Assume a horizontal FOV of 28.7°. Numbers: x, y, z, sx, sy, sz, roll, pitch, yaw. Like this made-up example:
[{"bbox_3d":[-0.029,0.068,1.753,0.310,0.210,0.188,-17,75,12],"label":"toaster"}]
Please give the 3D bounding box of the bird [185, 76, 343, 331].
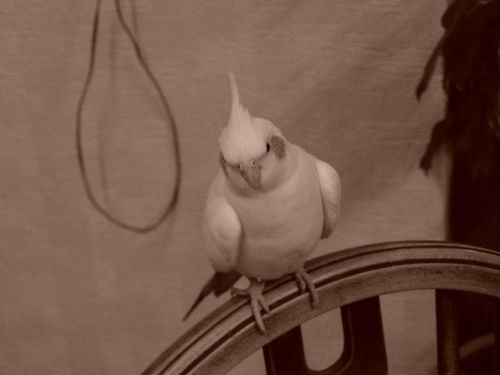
[{"bbox_3d":[0.037,0.024,2.520,0.295,0.527,0.603,-12,-51,-6],"label":"bird"}]
